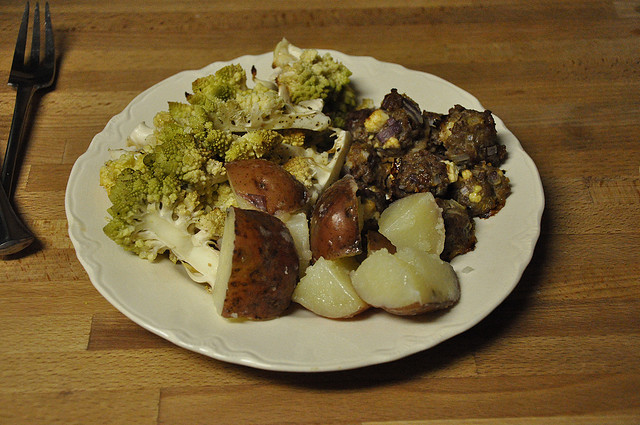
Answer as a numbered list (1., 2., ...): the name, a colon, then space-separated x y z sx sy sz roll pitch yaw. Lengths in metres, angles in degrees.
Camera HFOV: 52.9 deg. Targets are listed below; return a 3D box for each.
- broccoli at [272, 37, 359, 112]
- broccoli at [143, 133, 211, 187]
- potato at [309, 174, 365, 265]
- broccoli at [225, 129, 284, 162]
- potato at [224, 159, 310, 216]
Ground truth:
1. broccoli: -0.105 -0.857 4.328 0.517 0.261 0.433 34 73 -15
2. broccoli: -0.842 -0.325 3.774 0.338 0.129 0.314 -4 70 -9
3. potato: 0.084 0.057 3.701 0.149 0.417 0.444 31 77 -38
4. broccoli: -0.422 -0.401 3.984 0.370 0.138 0.192 -19 56 -9
5. potato: -0.283 -0.171 3.835 0.486 0.148 0.390 31 38 19
